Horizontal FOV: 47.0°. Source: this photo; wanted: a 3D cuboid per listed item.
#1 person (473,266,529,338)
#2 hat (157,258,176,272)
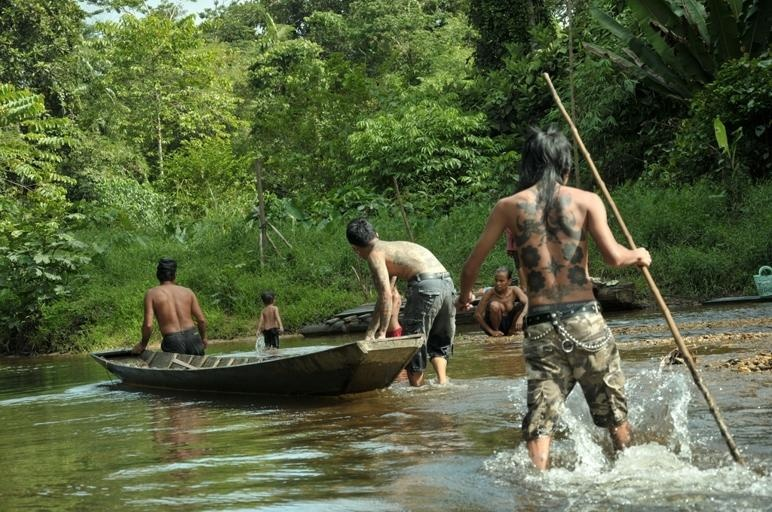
[{"bbox_3d":[2.317,0.959,17.451,1.137,1.462,1.127,1,9,42],"label":"person"},{"bbox_3d":[-3.944,0.112,15.895,0.253,0.295,0.320,2,14,-7],"label":"hat"}]
